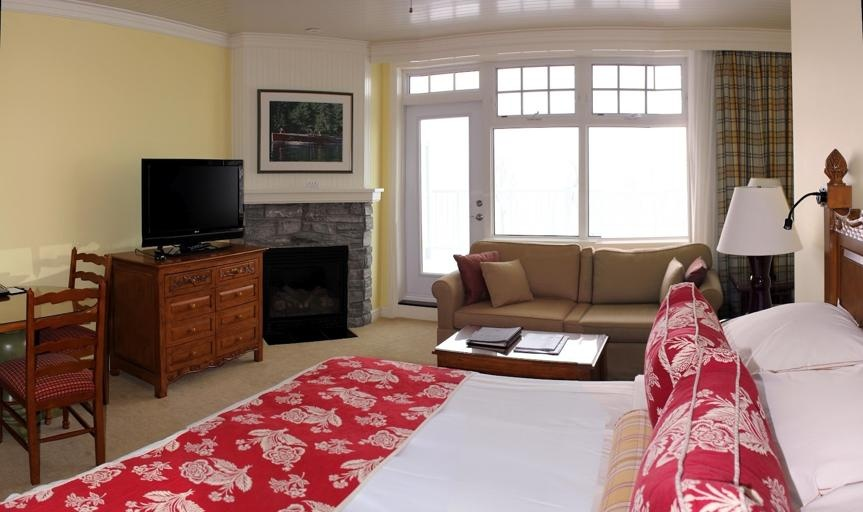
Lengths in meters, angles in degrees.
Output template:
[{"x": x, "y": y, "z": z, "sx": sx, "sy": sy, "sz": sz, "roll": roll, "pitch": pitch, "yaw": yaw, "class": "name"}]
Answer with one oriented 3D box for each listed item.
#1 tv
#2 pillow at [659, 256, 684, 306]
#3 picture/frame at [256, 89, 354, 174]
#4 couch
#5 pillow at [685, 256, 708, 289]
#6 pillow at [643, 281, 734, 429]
[{"x": -2.246, "y": -0.453, "z": 5.167, "sx": 0.505, "sy": 0.858, "sz": 1.003, "roll": 4, "pitch": 5, "yaw": 43, "class": "tv"}, {"x": 1.922, "y": 0.203, "z": 4.479, "sx": 0.141, "sy": 0.255, "sz": 0.388, "roll": 18, "pitch": 34, "yaw": 21, "class": "pillow"}, {"x": -1.459, "y": -1.393, "z": 6.185, "sx": 1.098, "sy": 0.821, "sz": 0.044, "roll": 0, "pitch": 1, "yaw": -19, "class": "picture/frame"}, {"x": 1.436, "y": 0.497, "z": 5.589, "sx": 2.600, "sy": 1.051, "sz": 1.110, "roll": 1, "pitch": 13, "yaw": 28, "class": "couch"}, {"x": 2.385, "y": 0.155, "z": 5.017, "sx": 0.102, "sy": 0.167, "sz": 0.262, "roll": 16, "pitch": 16, "yaw": 23, "class": "pillow"}, {"x": 1.231, "y": 0.479, "z": 2.682, "sx": 0.301, "sy": 0.491, "sz": 0.914, "roll": 3, "pitch": 5, "yaw": 24, "class": "pillow"}]
